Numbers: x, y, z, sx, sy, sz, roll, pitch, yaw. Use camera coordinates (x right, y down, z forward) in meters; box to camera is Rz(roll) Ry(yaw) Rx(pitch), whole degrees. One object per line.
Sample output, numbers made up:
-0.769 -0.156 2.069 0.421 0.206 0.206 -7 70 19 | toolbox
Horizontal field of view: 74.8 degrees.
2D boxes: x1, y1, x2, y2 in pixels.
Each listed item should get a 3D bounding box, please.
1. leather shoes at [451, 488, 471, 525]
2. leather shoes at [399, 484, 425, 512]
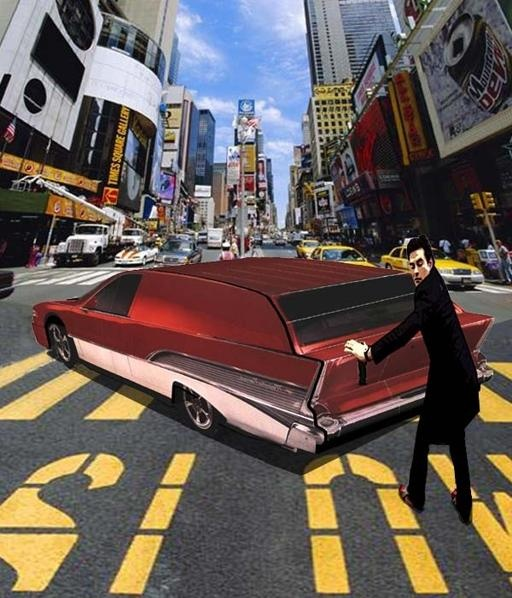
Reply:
1.296 1.306 2.118 0.047 0.164 0.067 2 -12 -17 | leather shoes
1.040 1.334 2.256 0.070 0.047 0.171 -27 29 -4 | leather shoes
